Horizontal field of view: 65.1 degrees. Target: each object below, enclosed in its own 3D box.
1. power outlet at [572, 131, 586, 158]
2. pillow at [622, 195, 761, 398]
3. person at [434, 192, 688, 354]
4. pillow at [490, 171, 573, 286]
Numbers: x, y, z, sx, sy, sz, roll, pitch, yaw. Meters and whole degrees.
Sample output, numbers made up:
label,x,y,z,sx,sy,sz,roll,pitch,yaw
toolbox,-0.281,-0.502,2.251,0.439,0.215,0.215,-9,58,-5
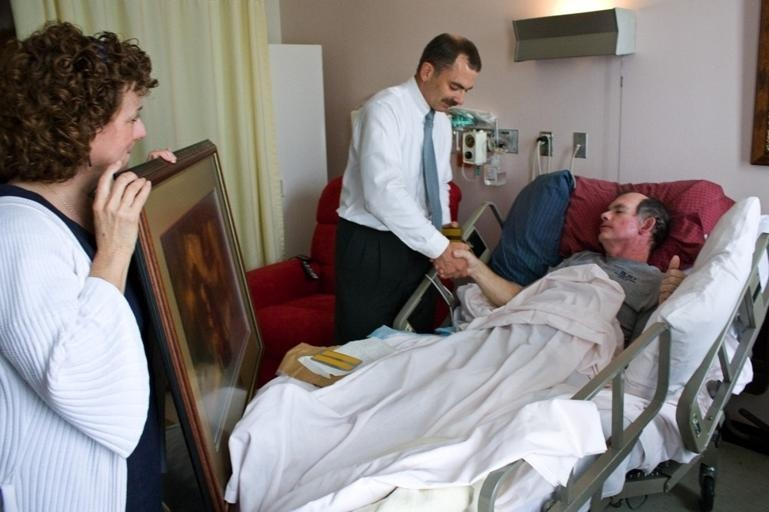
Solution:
label,x,y,z,sx,sy,sz,roll,pitch,yaw
power outlet,1.160,-0.653,3.587,0.086,0.155,0.019,13,19,43
pillow,1.277,0.132,2.396,0.253,0.725,0.707,20,65,25
person,0.988,0.105,2.928,1.245,0.538,1.094,-19,15,-35
pillow,0.800,-0.136,3.279,0.178,0.632,0.423,12,15,-42
